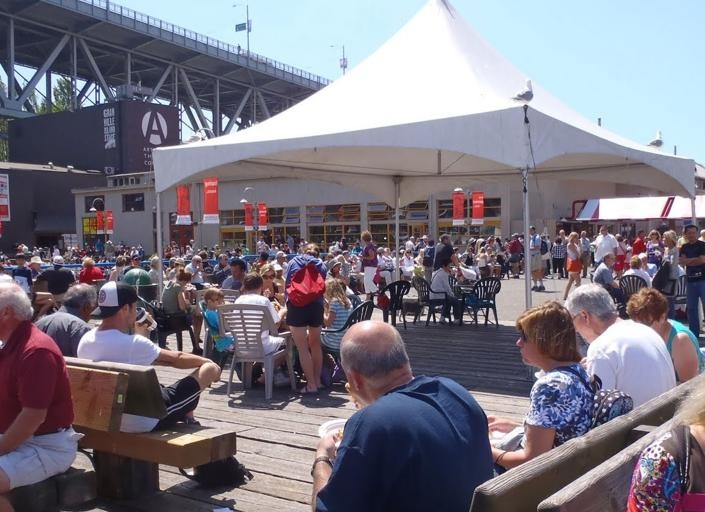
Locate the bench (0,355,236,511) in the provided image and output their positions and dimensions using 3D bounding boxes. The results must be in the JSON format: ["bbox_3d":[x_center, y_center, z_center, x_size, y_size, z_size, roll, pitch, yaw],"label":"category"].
[{"bbox_3d":[-1.626,1.213,5.173,1.389,0.236,0.713,11,15,33],"label":"bench"}]

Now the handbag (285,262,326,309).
[{"bbox_3d":[-0.514,0.308,7.490,0.309,0.369,0.187,-16,-13,-5],"label":"handbag"}]

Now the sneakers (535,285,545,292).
[{"bbox_3d":[5.162,0.883,19.203,0.114,0.172,0.360,-6,1,-26],"label":"sneakers"}]

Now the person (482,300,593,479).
[{"bbox_3d":[1.068,0.855,4.333,0.718,1.136,0.673,-1,-5,33],"label":"person"}]

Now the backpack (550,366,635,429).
[{"bbox_3d":[1.437,0.794,4.205,0.405,0.498,0.309,3,11,29],"label":"backpack"}]

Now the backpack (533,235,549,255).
[{"bbox_3d":[5.536,-0.330,20.530,0.431,0.524,0.341,-10,24,10],"label":"backpack"}]

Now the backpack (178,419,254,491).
[{"bbox_3d":[-1.061,1.525,5.464,0.519,0.245,0.416,-2,1,42],"label":"backpack"}]

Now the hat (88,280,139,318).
[{"bbox_3d":[-1.778,0.323,5.228,0.266,0.281,0.288,-4,5,-25],"label":"hat"}]

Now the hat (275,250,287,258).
[{"bbox_3d":[-1.814,-0.070,17.551,0.251,0.157,0.362,1,-4,-34],"label":"hat"}]

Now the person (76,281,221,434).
[{"bbox_3d":[-1.630,0.752,5.593,0.916,1.406,1.055,2,3,33],"label":"person"}]

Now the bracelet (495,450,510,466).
[{"bbox_3d":[0.887,1.212,4.201,0.016,0.074,0.059,14,-25,-29],"label":"bracelet"}]

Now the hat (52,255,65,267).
[{"bbox_3d":[-8.447,0.129,19.957,0.233,0.240,0.347,-5,9,-36],"label":"hat"}]
